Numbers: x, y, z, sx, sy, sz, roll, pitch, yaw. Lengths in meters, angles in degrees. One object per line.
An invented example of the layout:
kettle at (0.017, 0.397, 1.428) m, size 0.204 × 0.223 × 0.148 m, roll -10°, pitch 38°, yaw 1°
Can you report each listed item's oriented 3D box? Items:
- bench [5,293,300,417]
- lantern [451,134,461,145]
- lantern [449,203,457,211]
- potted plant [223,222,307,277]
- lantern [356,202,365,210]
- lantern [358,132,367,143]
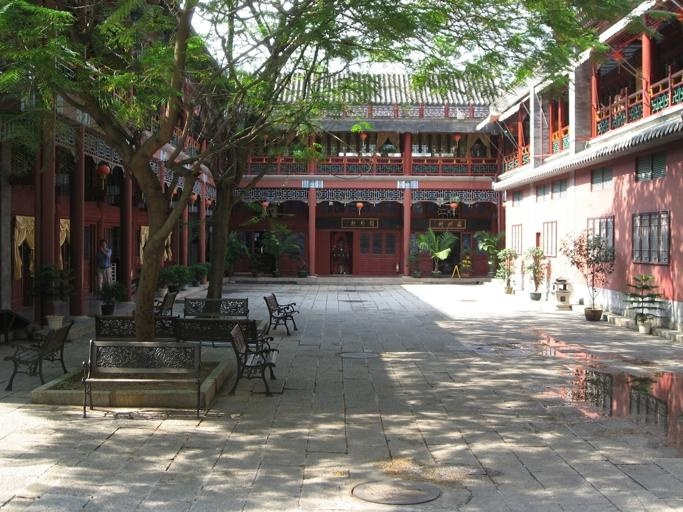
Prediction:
bench at (-2.678, 1.375, 7.881) m, size 2.286 × 0.842 × 2.628 m, roll 1°, pitch 2°, yaw 4°
lantern at (5.692, -5.855, 28.925) m, size 0.344 × 0.401 × 0.330 m, roll -1°, pitch 3°, yaw -3°
lantern at (5.442, -2.405, 28.025) m, size 0.331 × 0.306 × 0.319 m, roll -3°, pitch 1°, yaw -2°
potted plant at (-3.801, -0.200, 28.771) m, size 3.212 × 2.028 × 2.806 m, roll 2°, pitch -2°, yaw -1°
lantern at (0.937, -2.506, 28.671) m, size 0.310 × 0.273 × 0.298 m, roll -2°, pitch -1°, yaw -7°
lantern at (1.068, -5.945, 29.093) m, size 0.377 × 0.397 × 0.382 m, roll -4°, pitch 3°, yaw -45°
